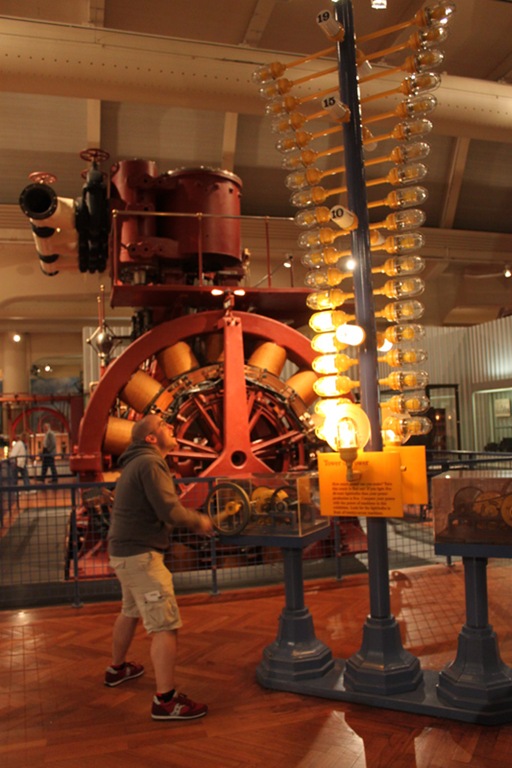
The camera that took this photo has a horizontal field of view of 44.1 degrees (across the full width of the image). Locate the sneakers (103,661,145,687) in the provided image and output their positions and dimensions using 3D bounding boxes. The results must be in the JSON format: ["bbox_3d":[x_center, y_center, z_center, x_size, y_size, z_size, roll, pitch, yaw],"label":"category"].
[{"bbox_3d":[-0.733,1.601,3.542,0.092,0.079,0.226,-3,-3,39],"label":"sneakers"}]

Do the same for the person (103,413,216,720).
[{"bbox_3d":[-0.533,0.896,3.312,0.531,1.463,0.625,-2,-6,-15],"label":"person"}]

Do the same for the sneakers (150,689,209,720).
[{"bbox_3d":[-0.365,1.547,3.074,0.313,0.126,0.103,1,-9,-7],"label":"sneakers"}]
